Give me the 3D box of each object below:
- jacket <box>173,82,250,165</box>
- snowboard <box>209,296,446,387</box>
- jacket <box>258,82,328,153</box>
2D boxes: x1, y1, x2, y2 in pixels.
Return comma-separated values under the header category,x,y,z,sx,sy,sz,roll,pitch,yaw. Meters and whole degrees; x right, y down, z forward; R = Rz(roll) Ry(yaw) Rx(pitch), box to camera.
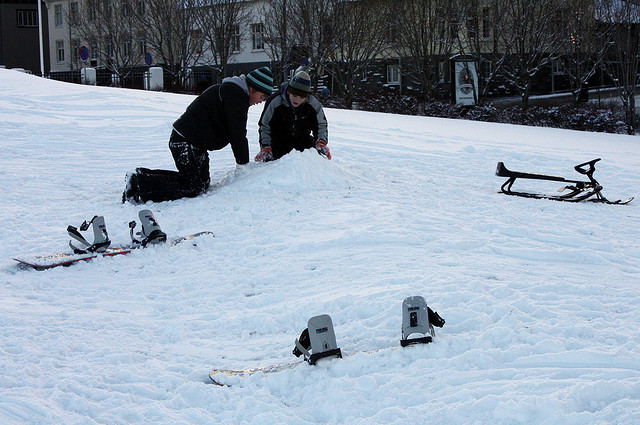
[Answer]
category,x,y,z,sx,sy,sz,roll,pitch,yaw
jacket,-1.497,-1.319,10.241,1.307,1.404,1.081,-3,10,-24
snowboard,0.080,1.276,7.091,2.479,0.478,0.471,-9,-11,-10
jacket,-0.458,-1.523,11.029,1.306,0.992,1.249,-6,-31,-12
